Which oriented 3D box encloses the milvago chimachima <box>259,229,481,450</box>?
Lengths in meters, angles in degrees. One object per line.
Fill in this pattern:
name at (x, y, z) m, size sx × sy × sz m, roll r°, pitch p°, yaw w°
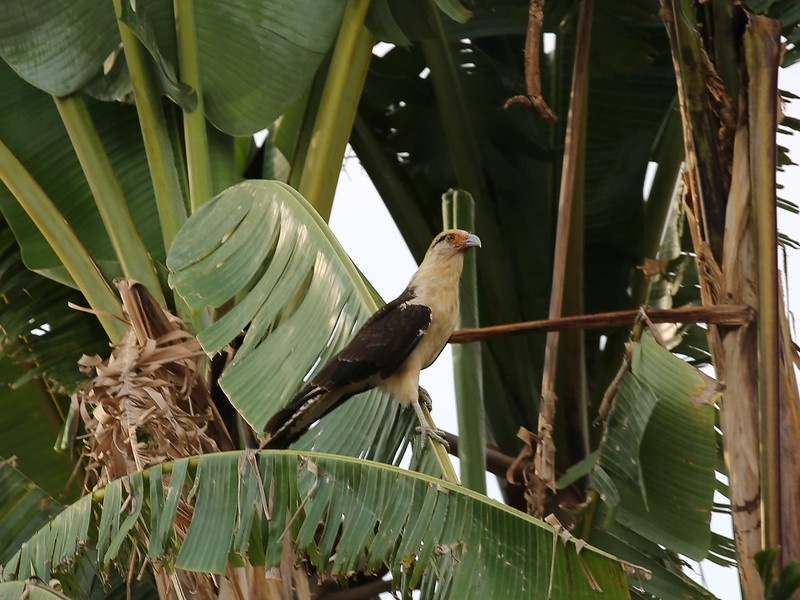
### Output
milvago chimachima at (-0.158, 0.236, 8.619) m, size 1.323 × 1.241 × 0.478 m, roll -4°, pitch -12°, yaw 10°
